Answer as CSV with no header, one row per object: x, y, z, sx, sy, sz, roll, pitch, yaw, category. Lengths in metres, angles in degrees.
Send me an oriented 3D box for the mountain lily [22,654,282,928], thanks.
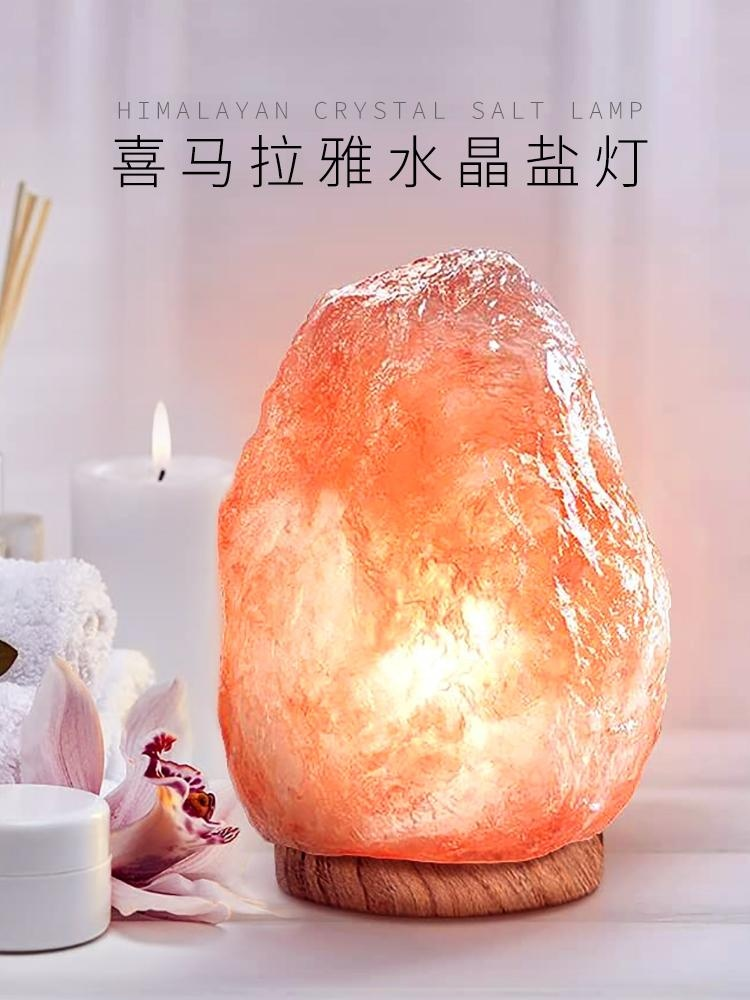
-0.105,0.155,0.594,0.143,0.120,0.121,10,-7,17,mountain lily
